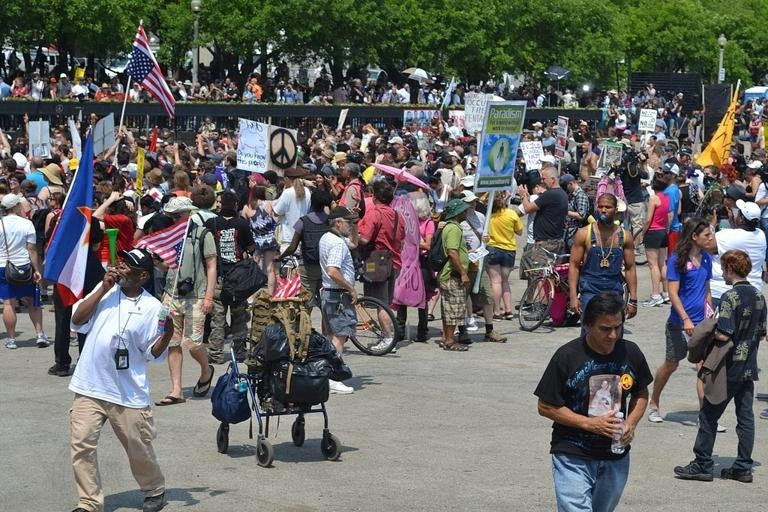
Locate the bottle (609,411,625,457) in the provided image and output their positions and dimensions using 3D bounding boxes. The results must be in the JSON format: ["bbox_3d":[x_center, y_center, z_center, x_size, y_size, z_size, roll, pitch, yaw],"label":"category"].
[{"bbox_3d":[2.545,1.910,12.723,0.152,0.483,0.085,-7,17,-27],"label":"bottle"}]

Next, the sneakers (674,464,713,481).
[{"bbox_3d":[3.907,2.724,14.929,0.501,0.248,0.198,5,0,5],"label":"sneakers"}]

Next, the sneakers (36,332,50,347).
[{"bbox_3d":[-5.602,1.342,19.286,0.190,0.208,0.311,-4,16,-15],"label":"sneakers"}]

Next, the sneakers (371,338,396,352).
[{"bbox_3d":[0.000,1.427,18.951,0.470,0.220,0.162,2,1,33],"label":"sneakers"}]

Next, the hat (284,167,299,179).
[{"bbox_3d":[-1.660,-1.509,21.471,0.327,0.178,0.195,9,17,28],"label":"hat"}]

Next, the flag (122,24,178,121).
[{"bbox_3d":[-5.288,-4.284,26.580,1.235,2.708,0.265,0,-21,-13],"label":"flag"}]

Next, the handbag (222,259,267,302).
[{"bbox_3d":[-2.075,0.360,17.321,0.620,0.501,0.241,-32,-5,-21],"label":"handbag"}]

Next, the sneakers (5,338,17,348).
[{"bbox_3d":[-6.063,1.408,19.089,0.099,0.116,0.270,-2,6,-27],"label":"sneakers"}]

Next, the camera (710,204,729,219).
[{"bbox_3d":[5.304,-0.668,18.560,0.334,0.215,0.336,4,23,8],"label":"camera"}]

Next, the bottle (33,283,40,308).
[{"bbox_3d":[-5.731,0.616,19.319,0.105,0.387,0.340,-7,17,-25],"label":"bottle"}]

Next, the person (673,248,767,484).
[{"bbox_3d":[4.360,1.407,14.918,0.919,2.733,1.323,7,16,25],"label":"person"}]

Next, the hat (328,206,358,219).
[{"bbox_3d":[-0.610,-0.623,17.079,0.280,0.164,0.195,1,9,-7],"label":"hat"}]

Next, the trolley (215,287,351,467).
[{"bbox_3d":[-1.240,1.716,15.914,1.909,2.402,2.088,3,-10,-25],"label":"trolley"}]

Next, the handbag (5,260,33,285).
[{"bbox_3d":[-6.000,0.250,19.216,0.388,0.368,0.156,0,-2,-35],"label":"handbag"}]

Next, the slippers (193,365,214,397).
[{"bbox_3d":[-2.616,1.848,17.003,0.208,0.531,0.127,14,-11,-2],"label":"slippers"}]

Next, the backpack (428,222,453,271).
[{"bbox_3d":[0.892,-0.140,19.258,0.318,0.742,0.392,0,15,-1],"label":"backpack"}]

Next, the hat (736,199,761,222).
[{"bbox_3d":[5.191,-0.650,16.788,0.250,0.205,0.351,-20,57,-39],"label":"hat"}]

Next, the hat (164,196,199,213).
[{"bbox_3d":[-2.898,-0.714,16.431,0.346,0.164,0.255,-2,4,-7],"label":"hat"}]

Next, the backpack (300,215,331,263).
[{"bbox_3d":[-1.061,-0.251,18.094,0.630,0.894,0.481,1,-12,-2],"label":"backpack"}]

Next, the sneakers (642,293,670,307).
[{"bbox_3d":[5.120,0.820,22.147,0.619,0.252,0.212,-7,8,-14],"label":"sneakers"}]

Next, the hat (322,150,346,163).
[{"bbox_3d":[-1.079,-2.097,24.936,0.460,0.132,0.480,0,2,4],"label":"hat"}]

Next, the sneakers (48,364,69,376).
[{"bbox_3d":[-4.943,1.704,17.851,0.290,0.153,0.149,11,8,14],"label":"sneakers"}]

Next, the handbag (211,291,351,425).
[{"bbox_3d":[-1.341,1.355,15.133,1.668,1.578,0.625,1,15,1],"label":"handbag"}]

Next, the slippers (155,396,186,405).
[{"bbox_3d":[-3.064,2.042,16.732,0.333,0.091,0.141,2,-2,-22],"label":"slippers"}]

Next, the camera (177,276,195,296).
[{"bbox_3d":[-2.821,0.408,16.637,0.152,0.229,0.119,31,18,-7],"label":"camera"}]

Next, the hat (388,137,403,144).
[{"bbox_3d":[0.307,-2.847,28.757,0.424,0.155,0.281,2,1,-45],"label":"hat"}]
